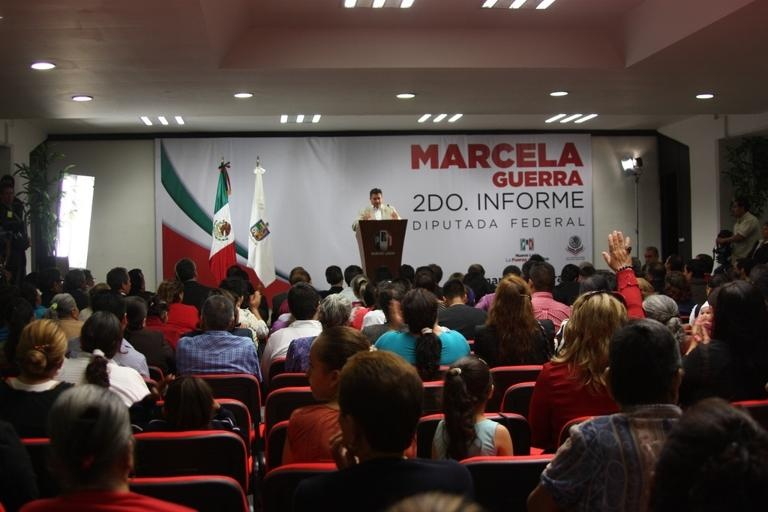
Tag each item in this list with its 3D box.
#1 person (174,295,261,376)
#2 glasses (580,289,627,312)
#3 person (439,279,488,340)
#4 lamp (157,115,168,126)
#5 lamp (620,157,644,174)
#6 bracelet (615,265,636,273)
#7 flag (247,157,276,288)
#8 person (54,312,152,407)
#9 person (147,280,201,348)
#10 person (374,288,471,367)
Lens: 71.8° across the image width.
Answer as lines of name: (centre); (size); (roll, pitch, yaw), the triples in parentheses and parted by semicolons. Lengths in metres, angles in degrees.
person: (-1.355, 0.660, 4.294); (0.725, 0.729, 0.410); (0, 18, -7)
glasses: (1.176, 0.224, 2.888); (0.166, 0.177, 0.054); (1, 33, 8)
person: (0.737, 0.569, 4.976); (0.397, 0.402, 0.873); (-9, -40, 8)
lamp: (-4.428, -2.690, 10.668); (0.209, 0.054, 0.212); (4, -15, 6)
lamp: (5.945, -2.159, 12.659); (0.527, 0.401, 0.184); (0, 0, -5)
bracelet: (1.306, 0.070, 2.866); (0.065, 0.028, 0.054); (-3, -2, -12)
flag: (-2.486, -0.765, 10.750); (0.465, 2.231, 2.195); (0, 1, -13)
person: (-1.802, 0.656, 3.385); (0.688, 0.542, 0.337); (9, 9, -1)
person: (-2.029, 0.673, 5.266); (0.406, 0.922, 0.503); (-3, 27, -20)
person: (0.256, 0.486, 3.807); (0.689, 0.523, 0.380); (-1, 23, 6)
